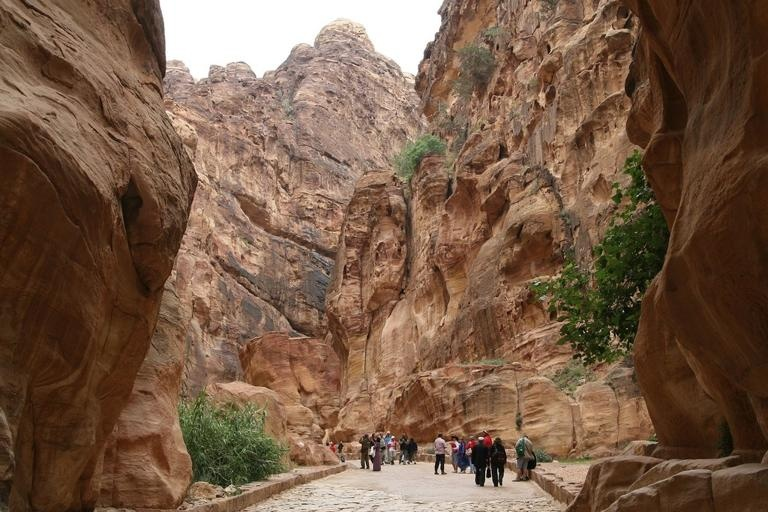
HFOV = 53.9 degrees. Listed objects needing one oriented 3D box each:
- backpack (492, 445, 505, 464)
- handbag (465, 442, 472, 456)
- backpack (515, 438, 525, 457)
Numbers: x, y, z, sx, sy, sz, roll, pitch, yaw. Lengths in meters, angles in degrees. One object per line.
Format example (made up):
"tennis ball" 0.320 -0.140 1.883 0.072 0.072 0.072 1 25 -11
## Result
"backpack" 2.753 4.751 18.104 0.321 0.499 0.461 3 -7 4
"handbag" 2.423 5.481 21.474 0.245 0.365 0.366 -2 0 13
"backpack" 3.415 4.786 18.869 0.251 0.456 0.452 1 -15 -3
